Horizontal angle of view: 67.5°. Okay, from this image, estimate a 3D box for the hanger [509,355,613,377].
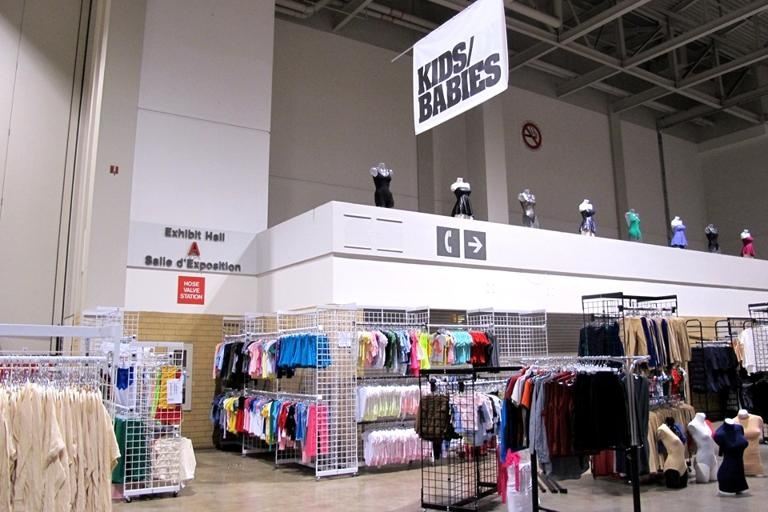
[{"bbox_3d":[2.439,1.407,7.557,1.141,0.200,1.172,-4,-9,22],"label":"hanger"}]
